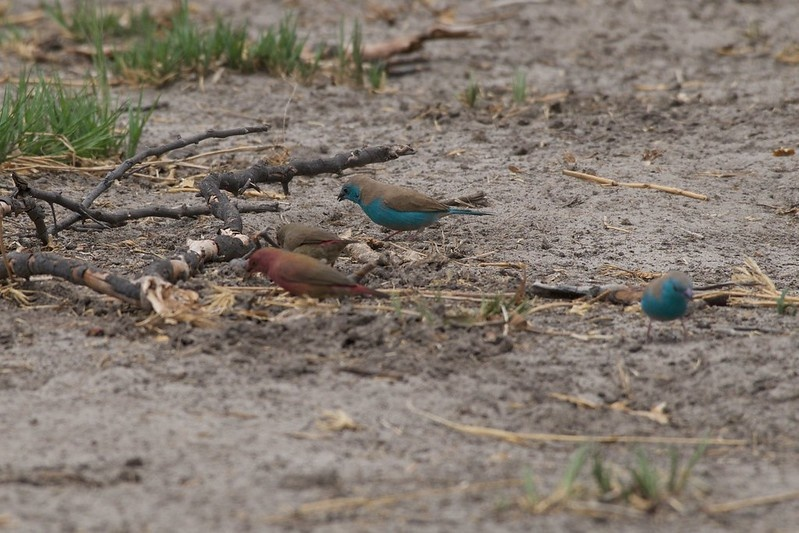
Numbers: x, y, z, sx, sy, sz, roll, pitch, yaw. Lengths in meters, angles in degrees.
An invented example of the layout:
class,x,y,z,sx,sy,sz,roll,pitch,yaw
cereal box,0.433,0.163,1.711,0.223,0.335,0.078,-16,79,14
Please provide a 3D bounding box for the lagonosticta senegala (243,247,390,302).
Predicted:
class,x,y,z,sx,sy,sz,roll,pitch,yaw
lagonosticta senegala,-0.816,-0.025,7.390,1.293,0.496,0.353,1,43,34

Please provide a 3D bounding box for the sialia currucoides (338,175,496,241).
class,x,y,z,sx,sy,sz,roll,pitch,yaw
sialia currucoides,0.107,-0.532,8.400,1.391,0.459,0.383,-1,7,-8
